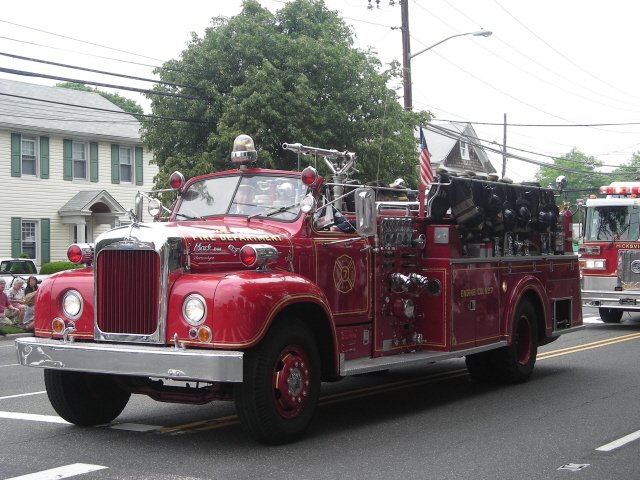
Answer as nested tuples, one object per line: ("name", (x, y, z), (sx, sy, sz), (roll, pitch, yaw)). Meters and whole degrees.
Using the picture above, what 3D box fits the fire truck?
("fire truck", (0.299, 0.775, 9.308), (3.309, 2.940, 7.701), (-9, -10, 42))

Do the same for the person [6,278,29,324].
("person", (-8.482, 1.694, 18.767), (0.671, 1.296, 0.619), (-25, -30, 26))
